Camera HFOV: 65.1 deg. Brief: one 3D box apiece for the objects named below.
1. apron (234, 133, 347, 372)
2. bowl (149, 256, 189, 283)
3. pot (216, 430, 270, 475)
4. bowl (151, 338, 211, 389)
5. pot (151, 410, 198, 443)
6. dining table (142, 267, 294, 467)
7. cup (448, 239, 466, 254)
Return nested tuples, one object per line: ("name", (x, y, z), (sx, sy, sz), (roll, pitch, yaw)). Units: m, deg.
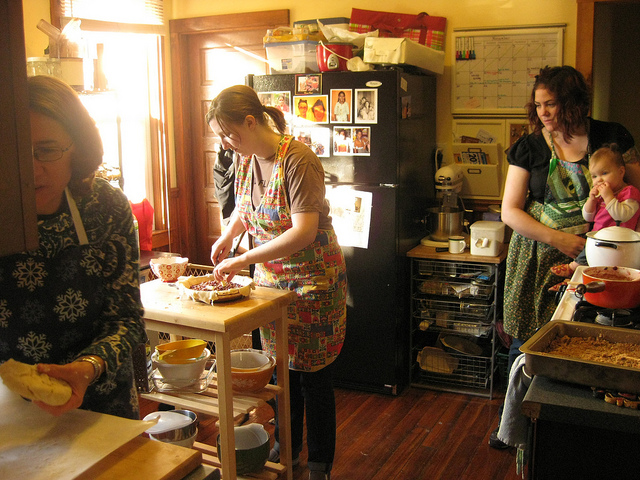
("apron", (-0.170, 0.073, 2.499), (0.489, 1.087, 0.352), (-5, 4, 33))
("bowl", (-0.732, 0.134, 2.494), (0.138, 0.090, 0.139), (-1, 0, 0))
("pot", (-0.304, 0.911, 2.236), (0.180, 0.194, 0.241), (8, 15, 25))
("bowl", (-0.610, 0.547, 2.207), (0.240, 0.184, 0.253), (-1, -1, 0))
("pot", (-0.623, 0.787, 2.196), (0.169, 0.073, 0.292), (-3, 13, -9))
("dining table", (-0.380, 0.623, 2.239), (0.299, 0.654, 0.702), (-3, 1, 15))
("cup", (0.882, 0.039, 3.226), (0.070, 0.074, 0.105), (-5, 12, -24))
